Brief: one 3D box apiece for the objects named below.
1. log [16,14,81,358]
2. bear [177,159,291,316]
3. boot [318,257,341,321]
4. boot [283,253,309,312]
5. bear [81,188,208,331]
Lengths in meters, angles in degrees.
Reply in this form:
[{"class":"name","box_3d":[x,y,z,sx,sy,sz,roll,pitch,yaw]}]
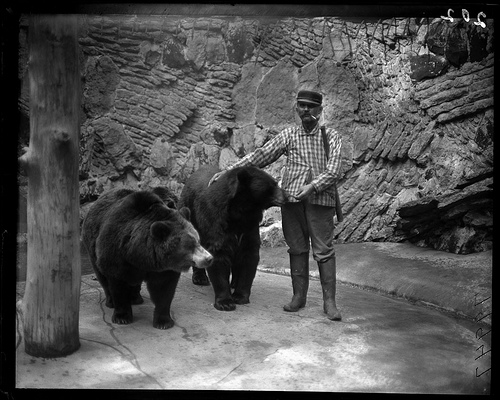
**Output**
[{"class":"log","box_3d":[-1.757,-0.129,4.245,0.549,3.051,0.354,1,4,-21]},{"class":"bear","box_3d":[-0.282,0.395,5.931,0.859,1.687,1.965,-1,6,-28]},{"class":"boot","box_3d":[0.861,0.931,5.068,0.141,0.643,0.293,0,5,-40]},{"class":"boot","box_3d":[0.520,0.898,5.264,0.277,0.616,0.214,2,4,-6]},{"class":"bear","box_3d":[-1.202,0.600,5.216,0.877,1.444,2.013,-4,9,-40]}]
